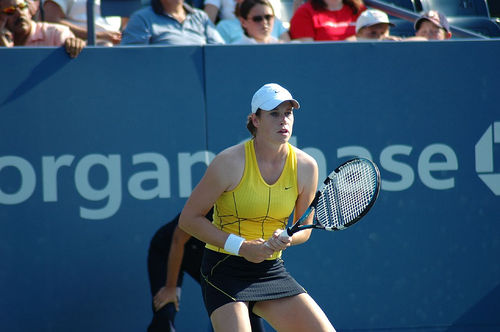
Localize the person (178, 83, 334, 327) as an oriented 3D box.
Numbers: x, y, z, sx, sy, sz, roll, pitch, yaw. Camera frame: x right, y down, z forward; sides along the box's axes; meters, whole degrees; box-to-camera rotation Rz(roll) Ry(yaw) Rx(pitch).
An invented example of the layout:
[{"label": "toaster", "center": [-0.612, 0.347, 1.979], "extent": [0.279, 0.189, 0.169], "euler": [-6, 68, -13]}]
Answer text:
[{"label": "person", "center": [0.068, 0.355, 6.590], "extent": [1.209, 2.200, 0.475], "euler": [5, 3, 6]}]

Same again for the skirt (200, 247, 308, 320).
[{"label": "skirt", "center": [0.075, 0.905, 6.627], "extent": [0.872, 0.842, 0.663], "euler": [-5, -19, -4]}]

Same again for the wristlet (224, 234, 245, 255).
[{"label": "wristlet", "center": [-0.128, 0.687, 6.537], "extent": [0.147, 0.129, 0.148], "euler": [23, 3, -41]}]

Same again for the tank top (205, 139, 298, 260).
[{"label": "tank top", "center": [0.019, 0.307, 6.564], "extent": [0.576, 0.922, 0.433], "euler": [22, 2, -31]}]
